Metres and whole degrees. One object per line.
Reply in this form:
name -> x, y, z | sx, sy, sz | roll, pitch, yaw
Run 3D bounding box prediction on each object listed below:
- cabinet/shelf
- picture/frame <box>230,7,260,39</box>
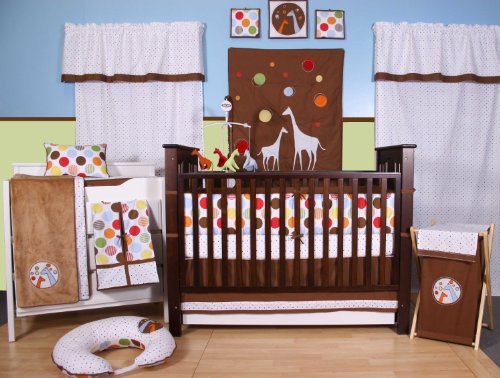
cabinet/shelf -> -1.159, 0.451, 3.724 | 1.071, 1.234, 0.631 | -2, 0, -21
picture/frame -> -0.040, -1.341, 4.347 | 0.213, 0.219, 0.018 | 0, 1, 1
